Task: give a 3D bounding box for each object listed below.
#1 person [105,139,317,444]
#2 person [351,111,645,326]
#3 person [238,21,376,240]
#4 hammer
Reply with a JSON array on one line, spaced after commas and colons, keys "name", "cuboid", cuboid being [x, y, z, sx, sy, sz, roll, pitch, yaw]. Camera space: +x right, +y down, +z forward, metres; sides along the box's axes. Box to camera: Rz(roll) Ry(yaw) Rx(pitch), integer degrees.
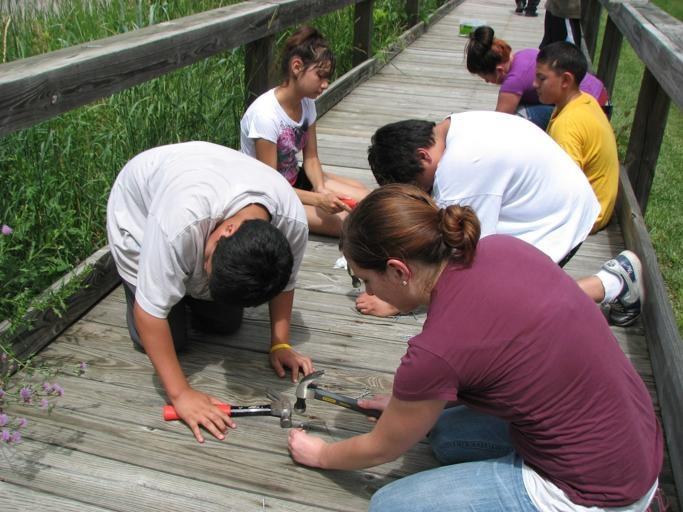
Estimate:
[{"name": "person", "cuboid": [-0.546, 0.008, 2.257, 0.686, 0.884, 1.049, -11, 28, -37]}, {"name": "person", "cuboid": [0.697, -0.158, 2.373, 0.998, 0.568, 0.824, 4, 47, 5]}, {"name": "person", "cuboid": [-0.161, -0.676, 3.055, 0.794, 1.100, 0.551, 20, 31, 22]}, {"name": "hammer", "cuboid": [-0.267, 0.537, 2.099, 0.563, 0.164, 0.153, -1, 46, 1]}]
